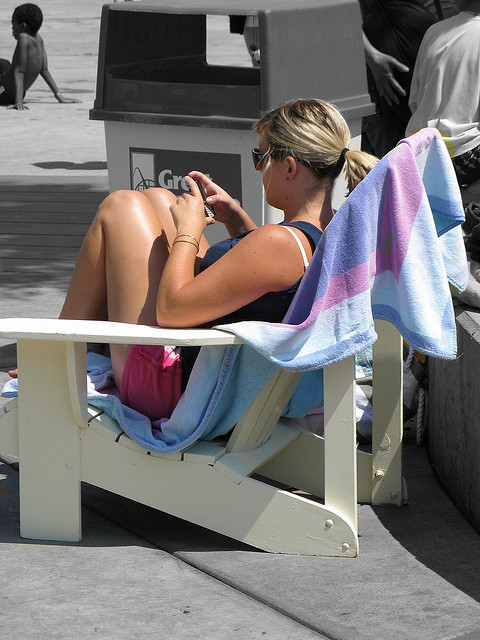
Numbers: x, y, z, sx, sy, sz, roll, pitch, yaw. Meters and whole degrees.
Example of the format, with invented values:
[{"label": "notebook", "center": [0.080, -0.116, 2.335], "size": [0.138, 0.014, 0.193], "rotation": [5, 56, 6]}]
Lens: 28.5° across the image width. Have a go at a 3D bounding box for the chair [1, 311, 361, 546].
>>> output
[{"label": "chair", "center": [-0.078, 0.284, 2.378], "size": [0.760, 0.483, 0.625], "rotation": [4, 4, 24]}]
